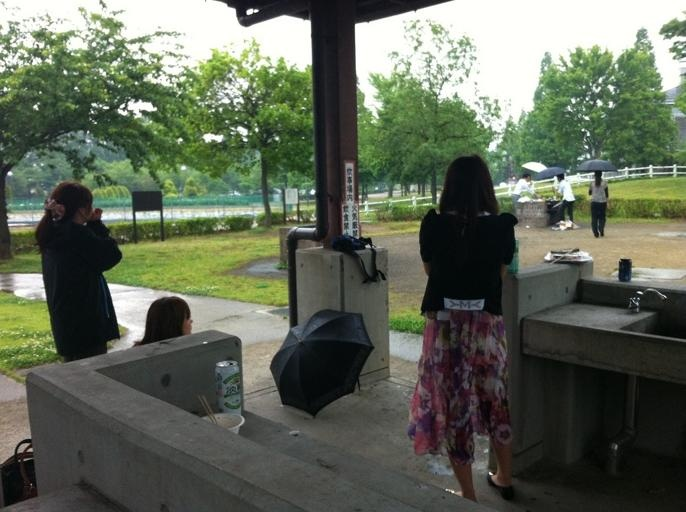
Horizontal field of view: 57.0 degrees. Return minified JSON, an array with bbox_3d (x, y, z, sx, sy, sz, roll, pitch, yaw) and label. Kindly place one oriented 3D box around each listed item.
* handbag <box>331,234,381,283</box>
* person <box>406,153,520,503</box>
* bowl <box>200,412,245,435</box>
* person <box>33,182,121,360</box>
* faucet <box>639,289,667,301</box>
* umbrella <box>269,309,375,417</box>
[{"bbox_3d":[0.144,-0.028,6.785,0.414,0.577,0.219,6,-22,-38],"label":"handbag"},{"bbox_3d":[0.839,0.560,4.487,0.790,2.520,0.434,-2,7,5],"label":"person"},{"bbox_3d":[-0.734,1.000,3.856,0.220,0.095,0.176,-1,8,12],"label":"bowl"},{"bbox_3d":[-2.174,0.104,5.224,0.609,1.439,0.322,-6,8,-27],"label":"person"},{"bbox_3d":[2.607,0.319,5.294,0.149,0.065,0.036,21,37,30],"label":"faucet"},{"bbox_3d":[-0.214,0.999,5.946,0.897,0.837,0.515,-5,7,-15],"label":"umbrella"}]
